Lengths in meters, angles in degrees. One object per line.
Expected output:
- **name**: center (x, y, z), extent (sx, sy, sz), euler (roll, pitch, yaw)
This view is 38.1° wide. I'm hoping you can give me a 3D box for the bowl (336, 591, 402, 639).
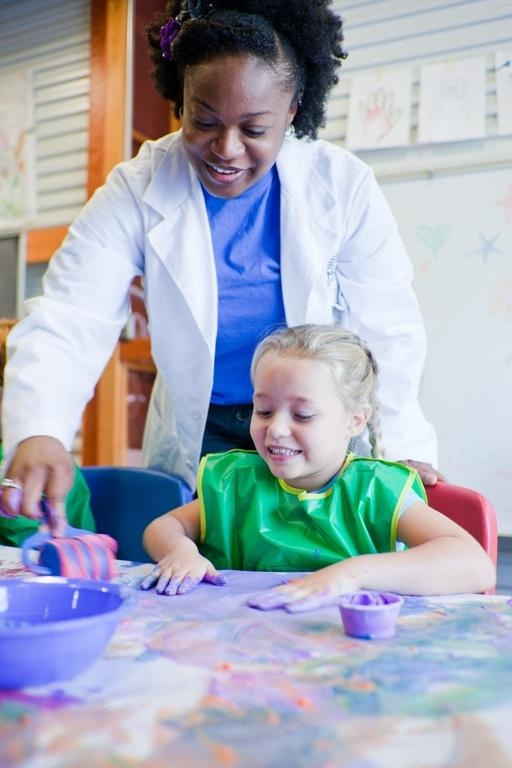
- **bowl**: center (0.110, 0.213, 0.694), extent (0.045, 0.022, 0.043), euler (-2, -1, 0)
